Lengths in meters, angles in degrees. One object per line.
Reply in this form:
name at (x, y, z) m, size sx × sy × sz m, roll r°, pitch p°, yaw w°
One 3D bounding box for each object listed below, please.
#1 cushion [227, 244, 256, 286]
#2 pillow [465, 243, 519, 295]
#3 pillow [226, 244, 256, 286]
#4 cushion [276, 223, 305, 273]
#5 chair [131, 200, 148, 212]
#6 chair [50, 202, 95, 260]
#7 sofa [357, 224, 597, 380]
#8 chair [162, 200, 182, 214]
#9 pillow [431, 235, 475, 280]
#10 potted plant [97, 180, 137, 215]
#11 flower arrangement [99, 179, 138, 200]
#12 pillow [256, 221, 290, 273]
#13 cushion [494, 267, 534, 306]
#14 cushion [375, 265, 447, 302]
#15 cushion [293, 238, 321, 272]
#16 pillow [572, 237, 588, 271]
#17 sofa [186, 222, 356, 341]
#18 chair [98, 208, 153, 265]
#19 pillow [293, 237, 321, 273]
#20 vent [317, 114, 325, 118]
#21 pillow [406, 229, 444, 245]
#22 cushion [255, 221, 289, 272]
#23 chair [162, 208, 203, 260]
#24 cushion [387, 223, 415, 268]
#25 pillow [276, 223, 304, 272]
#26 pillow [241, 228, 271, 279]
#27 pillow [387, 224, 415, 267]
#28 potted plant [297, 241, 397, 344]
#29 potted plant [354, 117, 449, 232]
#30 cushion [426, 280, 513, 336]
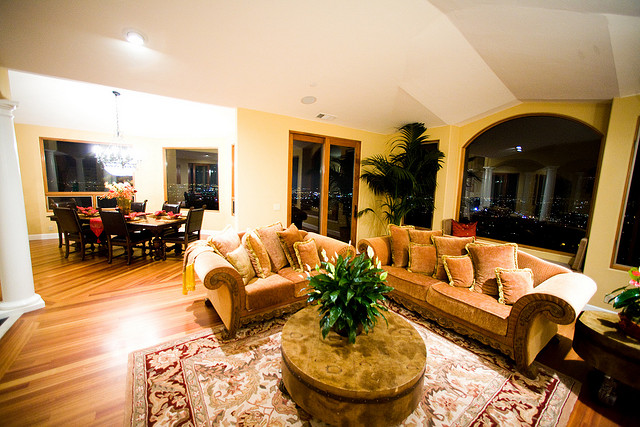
cushion at (-1.142, 0.752, 5.605) m, size 0.256 × 0.456 × 0.492 m, roll 4°, pitch 14°, yaw 17°
pillow at (2.545, 0.835, 5.740) m, size 0.724 × 0.840 × 0.358 m, roll -3°, pitch 1°, yaw 17°
pillow at (-1.136, 0.835, 5.854) m, size 0.310 × 0.491 × 0.575 m, roll -1°, pitch -2°, yaw -1°
cushion at (-0.376, 0.567, 6.376) m, size 0.387 × 0.636 × 0.730 m, roll 0°, pitch 12°, yaw 16°
chair at (-4.061, -0.142, 8.774) m, size 0.273 × 0.264 × 0.224 m, roll 5°, pitch -3°, yaw -41°
chair at (-4.756, 0.393, 7.562) m, size 0.676 × 1.010 × 0.355 m, roll -1°, pitch 9°, yaw 8°
sofa at (2.082, 1.039, 6.018) m, size 1.222 × 1.461 × 3.270 m, roll -5°, pitch 14°, yaw -44°
chair at (-3.271, -0.115, 8.631) m, size 0.346 × 0.444 × 0.317 m, roll -1°, pitch 5°, yaw -27°
pillow at (2.000, 0.648, 6.047) m, size 0.724 × 0.594 × 0.436 m, roll 5°, pitch 6°, yaw 0°
potted plant at (-4.400, -0.332, 8.407) m, size 0.707 × 0.699 × 0.695 m, roll 3°, pitch 19°, yaw 7°
flower arrangement at (-4.146, -0.526, 8.008) m, size 0.657 × 0.347 × 0.679 m, roll 23°, pitch 19°, yaw 28°
pillow at (-0.715, 0.503, 6.237) m, size 0.466 × 0.698 × 0.807 m, roll 9°, pitch 9°, yaw 42°
cushion at (2.672, 1.028, 5.437) m, size 0.483 × 0.480 × 0.149 m, roll -1°, pitch -8°, yaw 5°
cushion at (1.348, 1.048, 5.886) m, size 0.664 × 0.165 × 0.692 m, roll -1°, pitch 13°, yaw -41°
cushion at (-0.198, 0.668, 6.179) m, size 0.270 × 0.457 × 0.503 m, roll 13°, pitch 15°, yaw 34°
pillow at (4.084, 0.647, 6.133) m, size 0.103 × 0.440 × 0.418 m, roll 20°, pitch 20°, yaw 40°
sofa at (-0.795, 0.925, 6.193) m, size 2.601 × 1.338 × 1.167 m, roll -5°, pitch 14°, yaw -38°
chair at (-3.785, 0.408, 7.674) m, size 0.810 × 1.073 × 1.135 m, roll -6°, pitch 9°, yaw -24°
pillow at (-0.216, 0.672, 6.079) m, size 0.453 × 0.230 × 0.384 m, roll -11°, pitch 52°, yaw -33°
vent at (0.007, -1.795, 7.239) m, size 0.105 × 0.042 × 0.156 m, roll -4°, pitch 8°, yaw -13°
pillow at (1.632, 0.370, 6.249) m, size 0.309 × 0.124 × 0.311 m, roll 3°, pitch 16°, yaw 5°
cushion at (-0.785, 0.540, 6.176) m, size 0.256 × 0.636 × 0.648 m, roll -19°, pitch -1°, yaw 35°
chair at (-2.768, 0.399, 7.867) m, size 0.774 × 1.034 × 0.680 m, roll 0°, pitch 5°, yaw 20°
cushion at (1.287, 0.535, 6.389) m, size 0.591 × 0.566 × 0.170 m, roll -2°, pitch -6°, yaw 1°
pillow at (-0.485, 0.568, 6.137) m, size 0.317 × 0.550 × 0.637 m, roll -2°, pitch 13°, yaw 20°
pillow at (-0.989, 0.620, 6.216) m, size 0.483 × 0.779 × 0.910 m, roll 15°, pitch 0°, yaw -8°
pillow at (1.294, 0.552, 6.276) m, size 0.648 × 0.603 × 0.188 m, roll -2°, pitch -6°, yaw 10°
potted plant at (0.336, 1.055, 4.942) m, size 1.080 × 0.899 × 1.166 m, roll -7°, pitch -9°, yaw -9°
potted plant at (1.609, -0.684, 7.747) m, size 0.992 × 2.275 × 1.550 m, roll -9°, pitch 11°, yaw -36°
cushion at (2.057, 1.325, 5.491) m, size 1.090 × 0.518 × 0.314 m, roll 3°, pitch 10°, yaw 33°
